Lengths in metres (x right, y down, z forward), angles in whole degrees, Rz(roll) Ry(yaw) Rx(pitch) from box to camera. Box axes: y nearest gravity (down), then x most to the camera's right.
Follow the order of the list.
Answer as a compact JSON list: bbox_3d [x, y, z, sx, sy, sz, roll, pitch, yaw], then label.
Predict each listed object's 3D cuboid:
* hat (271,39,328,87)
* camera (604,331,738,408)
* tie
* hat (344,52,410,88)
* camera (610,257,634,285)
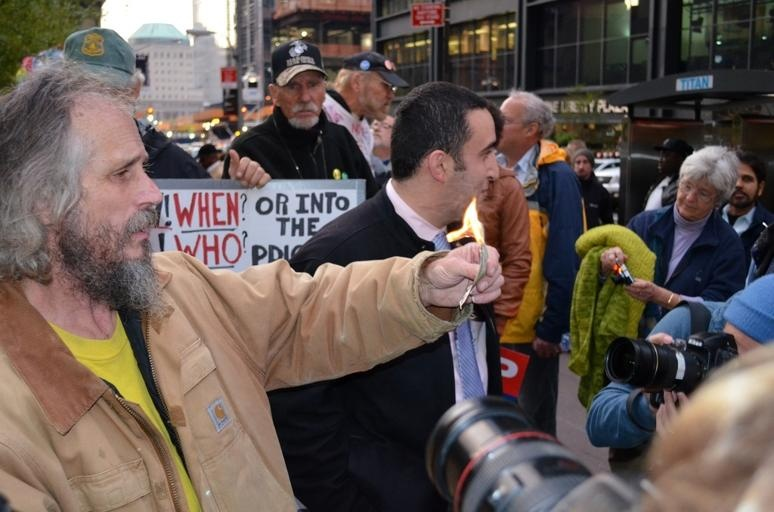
[{"bbox_3d":[-0.696,-1.533,5.768,0.424,0.356,0.607,-9,11,-15],"label":"hat"},{"bbox_3d":[1.320,0.526,3.434,0.539,0.398,0.311,0,10,10],"label":"camera"},{"bbox_3d":[0.335,0.282,3.653,0.174,0.913,0.145,-31,-37,34],"label":"tie"},{"bbox_3d":[-0.104,-1.823,7.008,0.554,0.225,0.379,19,10,-8],"label":"hat"},{"bbox_3d":[1.651,0.135,5.151,0.083,0.162,0.243,-3,11,-6],"label":"camera"}]
